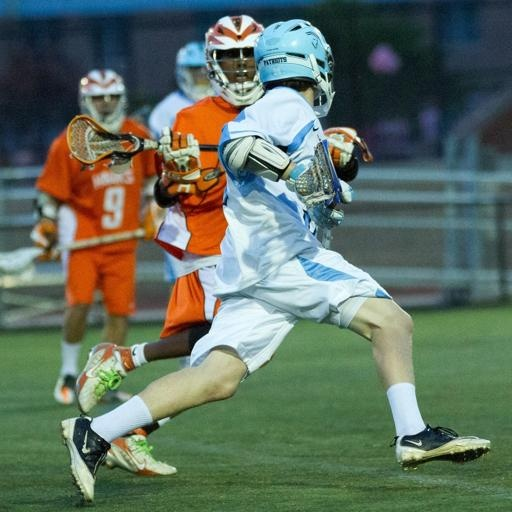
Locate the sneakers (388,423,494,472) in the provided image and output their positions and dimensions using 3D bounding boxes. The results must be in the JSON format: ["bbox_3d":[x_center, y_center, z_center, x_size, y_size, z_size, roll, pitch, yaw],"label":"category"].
[{"bbox_3d":[0.610,0.658,2.911,0.400,0.139,0.123,-7,-28,-7],"label":"sneakers"}]

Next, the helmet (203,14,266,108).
[{"bbox_3d":[-0.104,-0.886,3.737,0.400,0.328,0.412,-1,8,-8],"label":"helmet"}]

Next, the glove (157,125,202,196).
[{"bbox_3d":[-0.333,-0.410,3.547,0.280,0.125,0.266,4,-39,4],"label":"glove"}]

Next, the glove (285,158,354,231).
[{"bbox_3d":[0.208,-0.207,2.939,0.132,0.187,0.268,-36,-42,8],"label":"glove"}]

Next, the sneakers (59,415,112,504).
[{"bbox_3d":[-0.602,0.731,3.076,0.210,0.303,0.128,-10,-3,-2],"label":"sneakers"}]

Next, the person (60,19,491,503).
[{"bbox_3d":[0.054,-0.018,3.082,1.453,1.772,0.573,-3,6,8],"label":"person"}]

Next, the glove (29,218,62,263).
[{"bbox_3d":[-1.035,-0.084,3.911,0.108,0.165,0.151,1,12,25],"label":"glove"}]
